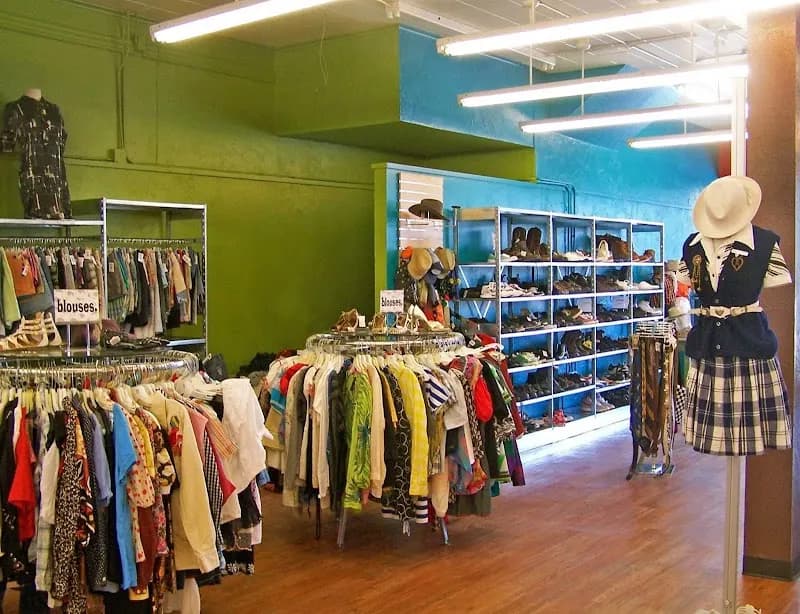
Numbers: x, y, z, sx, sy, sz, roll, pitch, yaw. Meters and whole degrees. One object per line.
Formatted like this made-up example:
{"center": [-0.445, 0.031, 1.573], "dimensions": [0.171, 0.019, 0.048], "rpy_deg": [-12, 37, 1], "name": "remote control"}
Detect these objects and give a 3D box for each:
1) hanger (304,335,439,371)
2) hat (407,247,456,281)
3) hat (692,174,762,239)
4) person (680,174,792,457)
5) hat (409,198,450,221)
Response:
{"center": [-0.171, 0.323, 5.087], "dimensions": [1.213, 0.206, 0.642], "rpy_deg": [-1, 2, 5], "name": "hanger"}
{"center": [0.348, -0.495, 7.220], "dimensions": [0.337, 0.379, 0.604], "rpy_deg": [0, 2, 34], "name": "hat"}
{"center": [1.879, -0.609, 3.603], "dimensions": [0.328, 0.412, 0.135], "rpy_deg": [14, -6, 34], "name": "hat"}
{"center": [1.903, 0.065, 3.617], "dimensions": [0.576, 1.619, 0.269], "rpy_deg": [0, 2, 33], "name": "person"}
{"center": [0.310, -1.104, 7.205], "dimensions": [0.287, 0.117, 0.260], "rpy_deg": [8, -5, -15], "name": "hat"}
